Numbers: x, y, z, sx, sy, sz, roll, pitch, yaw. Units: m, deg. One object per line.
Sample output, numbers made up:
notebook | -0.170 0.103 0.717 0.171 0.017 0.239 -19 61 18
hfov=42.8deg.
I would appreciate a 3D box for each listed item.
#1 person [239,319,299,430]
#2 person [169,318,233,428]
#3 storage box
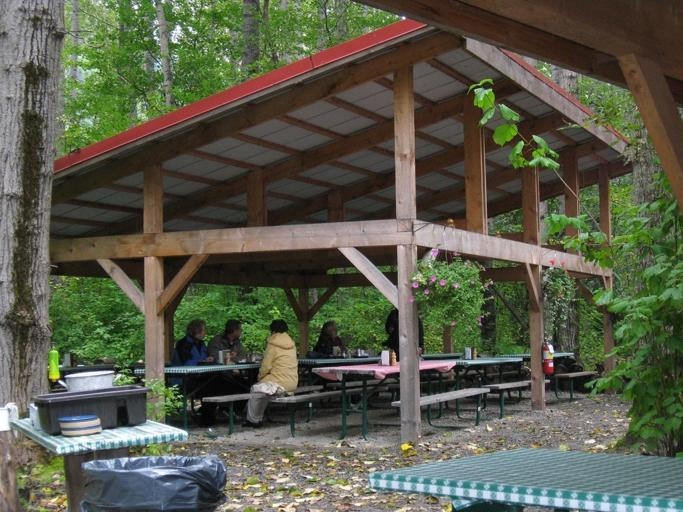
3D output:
person | -1.165 1.724 13.028 0.851 1.575 1.045 -4 -9 16
person | -2.284 1.879 14.142 1.013 1.655 0.757 0 3 29
storage box | -2.035 1.216 7.027 0.658 0.203 0.414 -1 -7 -23
